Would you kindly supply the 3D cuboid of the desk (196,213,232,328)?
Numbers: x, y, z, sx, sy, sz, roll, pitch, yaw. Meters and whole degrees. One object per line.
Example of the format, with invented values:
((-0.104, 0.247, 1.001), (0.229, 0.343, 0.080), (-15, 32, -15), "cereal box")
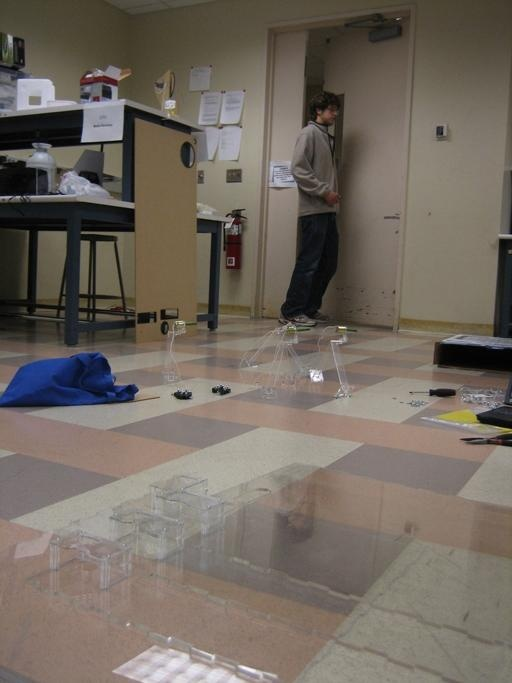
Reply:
((-0.375, -0.549, 4.185), (0.196, 0.893, 0.528), (2, 8, -3), "desk")

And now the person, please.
((0.541, -1.216, 4.794), (0.430, 2.127, 0.695), (10, 11, 43), "person")
